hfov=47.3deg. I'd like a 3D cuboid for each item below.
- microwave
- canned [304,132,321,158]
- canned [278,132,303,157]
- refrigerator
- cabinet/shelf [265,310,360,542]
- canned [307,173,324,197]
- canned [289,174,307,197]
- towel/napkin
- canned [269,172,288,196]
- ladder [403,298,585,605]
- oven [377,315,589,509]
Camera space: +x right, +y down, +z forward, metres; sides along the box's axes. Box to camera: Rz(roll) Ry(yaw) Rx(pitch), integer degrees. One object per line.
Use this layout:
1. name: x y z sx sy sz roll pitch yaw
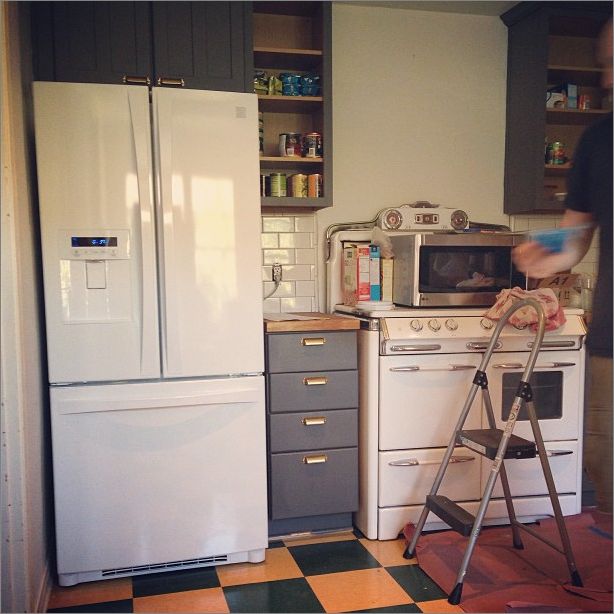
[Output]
1. microwave: 0.707 -0.168 3.176 0.629 0.321 0.378 -1 2 -15
2. canned: 0.030 -0.763 3.325 0.090 0.114 0.056 -2 10 2
3. canned: -0.077 -0.768 3.337 0.144 0.126 0.124 -2 11 -11
4. refrigerator: -0.567 0.114 2.670 0.866 1.892 0.352 -4 11 -5
5. cabinet/shelf: 0.029 0.474 2.943 0.426 0.829 0.180 -3 11 -3
6. canned: 0.038 -0.570 3.310 0.079 0.102 0.035 -2 10 4
7. canned: -0.042 -0.570 3.324 0.087 0.112 0.140 -3 9 -1
8. towel/napkin: 0.952 0.007 2.993 0.269 0.068 0.237 2 30 9
9. canned: -0.135 -0.572 3.279 0.122 0.097 0.107 -1 6 -14
10. ladder: 0.721 0.499 2.742 0.705 1.069 0.710 -2 10 5
11. oven: 0.706 0.440 2.962 1.128 0.791 0.469 0 -2 -10
